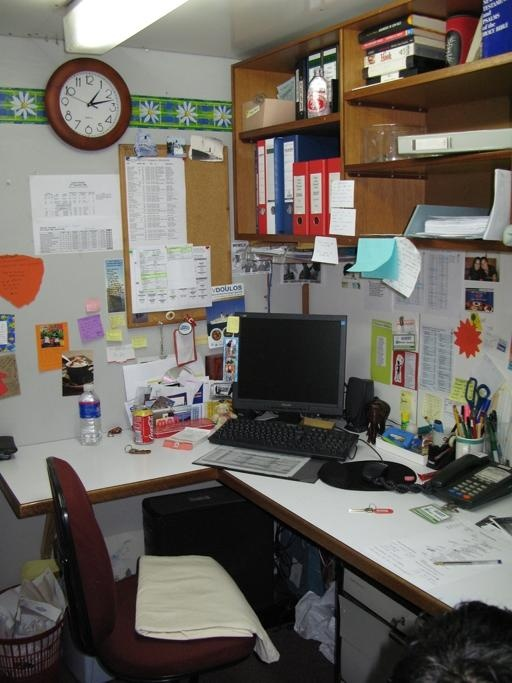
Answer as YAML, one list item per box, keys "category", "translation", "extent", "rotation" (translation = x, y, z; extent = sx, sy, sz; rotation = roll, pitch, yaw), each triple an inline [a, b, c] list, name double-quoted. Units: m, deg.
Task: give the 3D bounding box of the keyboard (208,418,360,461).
- category: "keyboard"
  translation: [0.093, 0.350, 1.993]
  extent: [0.523, 0.067, 0.206]
  rotation: [3, 11, 21]

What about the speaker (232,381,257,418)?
- category: "speaker"
  translation: [-0.048, 0.230, 2.212]
  extent: [0.079, 0.104, 0.145]
  rotation: [7, 4, 11]

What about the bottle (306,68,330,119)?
- category: "bottle"
  translation: [0.206, -0.821, 1.848]
  extent: [0.081, 0.123, 0.029]
  rotation: [1, 12, 19]

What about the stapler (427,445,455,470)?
- category: "stapler"
  translation: [0.593, 0.368, 1.781]
  extent: [0.063, 0.085, 0.080]
  rotation: [0, 2, -40]

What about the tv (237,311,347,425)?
- category: "tv"
  translation: [0.139, 0.100, 2.149]
  extent: [0.430, 0.372, 0.042]
  rotation: [4, -7, 19]

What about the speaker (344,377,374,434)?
- category: "speaker"
  translation: [0.414, 0.252, 2.209]
  extent: [0.144, 0.200, 0.162]
  rotation: [-3, 9, -16]

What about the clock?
- category: "clock"
  translation: [-0.616, -0.859, 2.005]
  extent: [0.273, 0.310, 0.114]
  rotation: [-3, 16, -28]

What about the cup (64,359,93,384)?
- category: "cup"
  translation: [-0.696, 0.122, 2.156]
  extent: [0.094, 0.071, 0.088]
  rotation: [3, 10, 0]

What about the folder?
- category: "folder"
  translation: [0.221, -0.561, 2.270]
  extent: [0.353, 0.460, 0.471]
  rotation: [1, 5, 15]

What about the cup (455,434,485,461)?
- category: "cup"
  translation: [0.653, 0.323, 1.695]
  extent: [0.073, 0.080, 0.079]
  rotation: [3, 7, 0]

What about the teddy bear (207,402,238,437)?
- category: "teddy bear"
  translation: [-0.141, 0.316, 2.282]
  extent: [0.079, 0.104, 0.032]
  rotation: [11, -32, -5]
